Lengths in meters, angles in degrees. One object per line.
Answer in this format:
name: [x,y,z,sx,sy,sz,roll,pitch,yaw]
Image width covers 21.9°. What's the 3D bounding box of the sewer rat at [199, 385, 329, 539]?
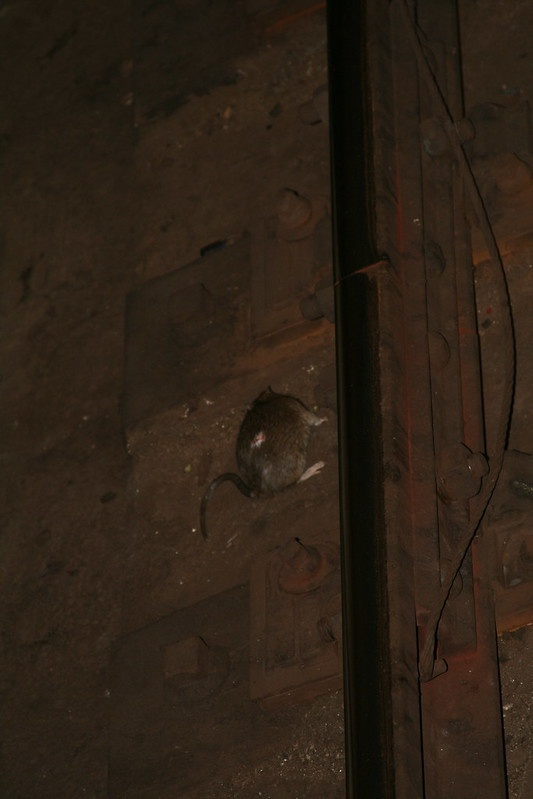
sewer rat: [-0.065,0.286,6.208,0.397,0.281,0.847,18,43,32]
